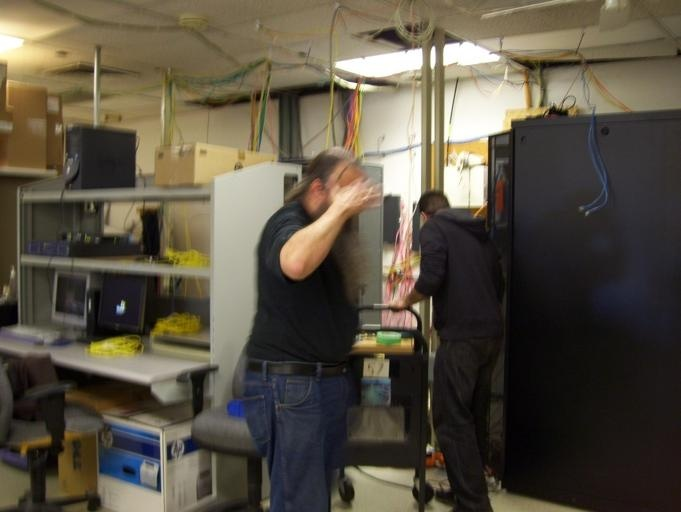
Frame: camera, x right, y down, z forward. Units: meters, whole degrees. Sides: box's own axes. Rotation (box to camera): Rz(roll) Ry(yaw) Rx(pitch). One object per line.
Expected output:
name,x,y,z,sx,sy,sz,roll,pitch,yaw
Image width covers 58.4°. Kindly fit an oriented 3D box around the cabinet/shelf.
cabinet/shelf,-0.855,0.508,3.438,1.914,2.022,1.141,-1,-1,35
